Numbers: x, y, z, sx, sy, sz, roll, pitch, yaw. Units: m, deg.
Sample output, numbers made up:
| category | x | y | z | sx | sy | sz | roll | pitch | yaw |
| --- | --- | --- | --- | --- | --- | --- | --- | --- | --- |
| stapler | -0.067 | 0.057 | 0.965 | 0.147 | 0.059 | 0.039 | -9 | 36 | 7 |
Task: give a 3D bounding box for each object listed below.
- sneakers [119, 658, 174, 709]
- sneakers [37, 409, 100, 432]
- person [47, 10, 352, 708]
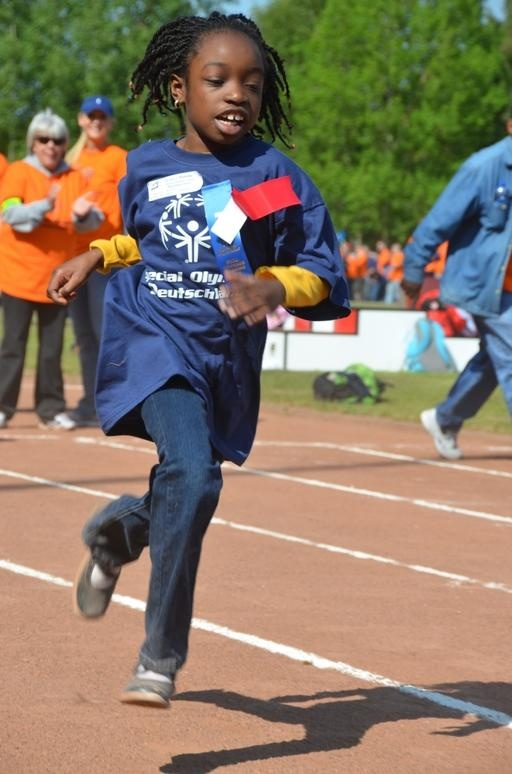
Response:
| category | x | y | z | sx | sy | sz | roll | pitch | yaw |
| --- | --- | --- | --- | --- | --- | --- | --- | --- | --- |
| sneakers | -0.239 | 0.639 | 1.825 | 0.065 | 0.053 | 0.133 | -2 | -15 | 7 |
| sneakers | -1.590 | 0.287 | 7.312 | 0.478 | 0.195 | 0.171 | -5 | -6 | 26 |
| person | -0.159 | -0.098 | 2.180 | 0.719 | 1.840 | 0.862 | 2 | 5 | -13 |
